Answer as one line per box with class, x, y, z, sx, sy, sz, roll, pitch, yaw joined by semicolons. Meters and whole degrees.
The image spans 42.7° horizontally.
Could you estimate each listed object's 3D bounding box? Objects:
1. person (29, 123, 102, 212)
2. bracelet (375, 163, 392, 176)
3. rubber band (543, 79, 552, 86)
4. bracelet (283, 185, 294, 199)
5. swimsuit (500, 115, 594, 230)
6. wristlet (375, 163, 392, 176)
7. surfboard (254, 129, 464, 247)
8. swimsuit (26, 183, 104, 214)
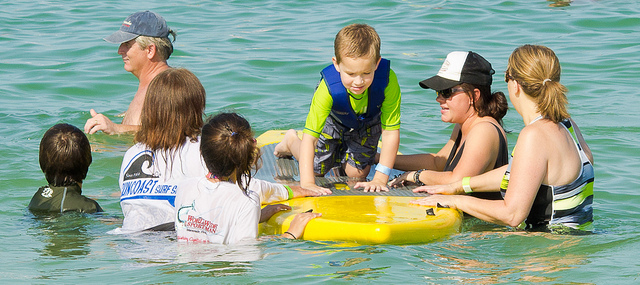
person;-4.877;0.509;15.251;1.238;1.570;0.895;-6;19;-12
bracelet;1.199;0.524;15.623;0.282;0.102;0.250;24;-9;-3
rubber band;4.034;-1.076;14.601;0.133;0.113;0.040;-5;8;7
bracelet;-0.574;0.929;15.143;0.130;0.256;0.112;-15;23;-32
swimsuit;4.242;0.795;15.737;2.091;2.383;2.253;-5;2;18
wristlet;1.185;0.526;15.592;0.287;0.094;0.250;14;5;-28
surfboard;0.381;0.807;15.459;2.162;0.337;3.286;-7;14;-31
swimsuit;-4.774;1.101;15.184;1.291;0.431;0.601;3;3;7
